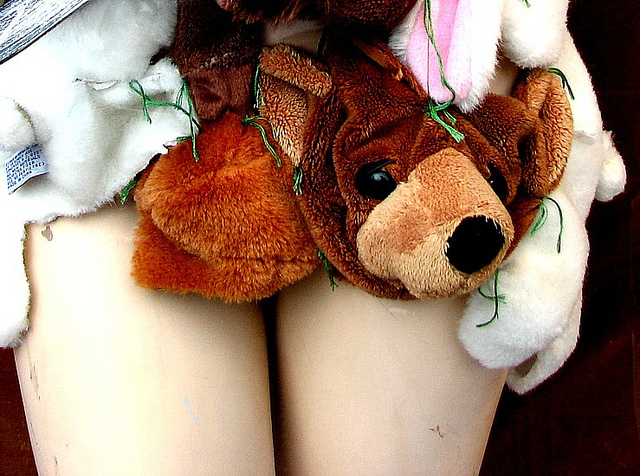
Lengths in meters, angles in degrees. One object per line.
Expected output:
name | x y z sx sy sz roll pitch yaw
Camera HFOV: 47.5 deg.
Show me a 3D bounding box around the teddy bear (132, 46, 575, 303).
teddy bear | 0.022 -0.058 0.741 0.391 0.240 0.277 -7 42 -19
